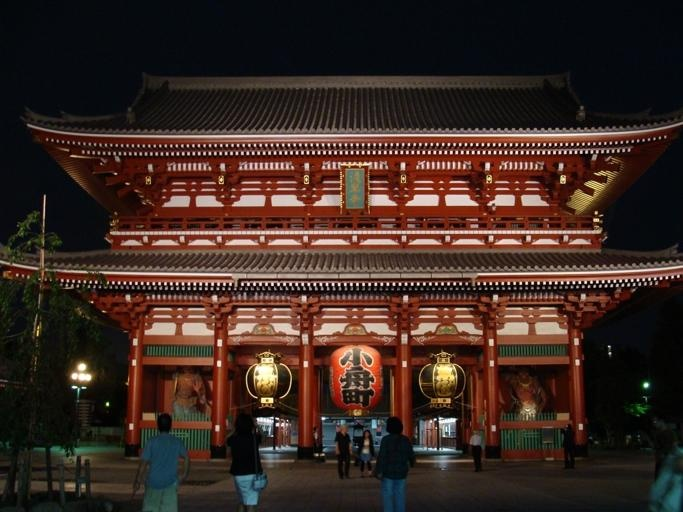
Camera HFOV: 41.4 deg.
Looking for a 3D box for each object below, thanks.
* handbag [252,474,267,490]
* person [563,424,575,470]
[{"bbox_3d":[-1.967,5.401,21.709,0.311,0.455,0.523,-2,-9,19],"label":"handbag"},{"bbox_3d":[7.881,6.591,31.375,0.405,1.565,1.073,-6,-21,12],"label":"person"}]
